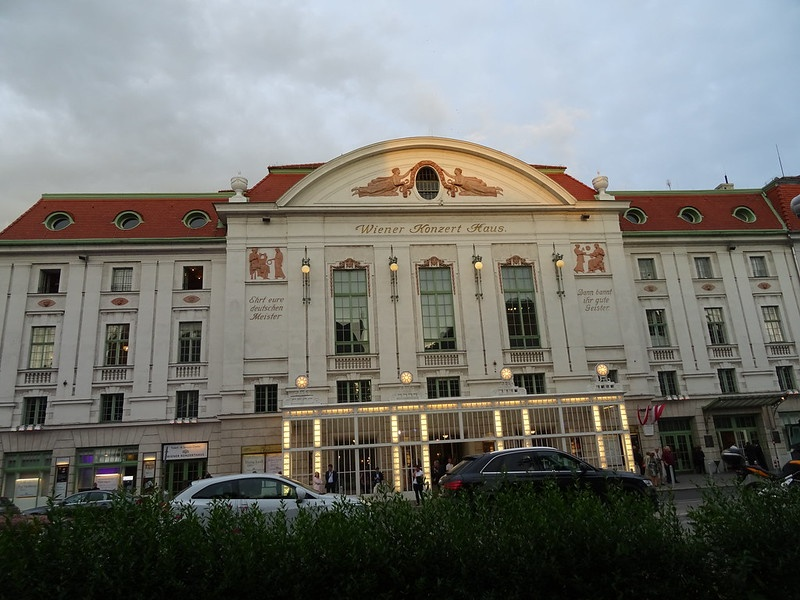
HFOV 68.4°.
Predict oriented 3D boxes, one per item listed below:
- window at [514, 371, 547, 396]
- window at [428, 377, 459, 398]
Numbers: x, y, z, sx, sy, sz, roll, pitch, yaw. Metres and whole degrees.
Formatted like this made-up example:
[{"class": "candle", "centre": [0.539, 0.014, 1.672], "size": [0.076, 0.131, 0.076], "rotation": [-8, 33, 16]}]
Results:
[{"class": "window", "centre": [6.824, 4.424, 30.996], "size": [1.399, 0.858, 0.136], "rotation": [3, -18, -14]}, {"class": "window", "centre": [2.213, 4.650, 31.074], "size": [1.276, 0.719, 0.131], "rotation": [2, -23, -9]}]
